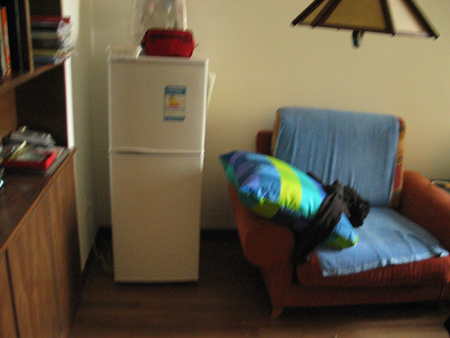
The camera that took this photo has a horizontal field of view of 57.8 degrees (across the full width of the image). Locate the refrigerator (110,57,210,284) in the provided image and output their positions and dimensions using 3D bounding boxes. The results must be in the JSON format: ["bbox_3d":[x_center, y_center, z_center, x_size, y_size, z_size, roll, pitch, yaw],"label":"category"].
[{"bbox_3d":[-0.500,-0.022,2.926,0.625,1.569,0.516,0,17,-13],"label":"refrigerator"}]

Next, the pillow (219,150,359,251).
[{"bbox_3d":[0.313,0.155,2.590,0.687,0.435,0.460,3,22,-1],"label":"pillow"}]

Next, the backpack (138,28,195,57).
[{"bbox_3d":[-0.354,-0.791,2.567,0.232,0.117,0.190,-1,22,-4],"label":"backpack"}]

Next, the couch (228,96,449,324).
[{"bbox_3d":[0.786,0.279,3.087,1.850,1.542,1.330,-3,24,-10],"label":"couch"}]

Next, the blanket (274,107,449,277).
[{"bbox_3d":[0.873,0.047,2.963,1.040,0.996,1.106,1,19,-8],"label":"blanket"}]

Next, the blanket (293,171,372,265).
[{"bbox_3d":[0.674,0.314,2.647,0.180,0.497,0.581,-11,29,39],"label":"blanket"}]
